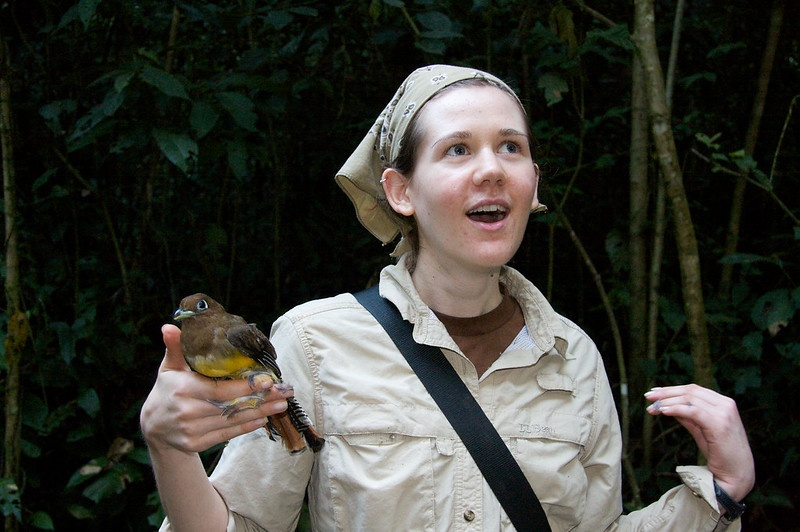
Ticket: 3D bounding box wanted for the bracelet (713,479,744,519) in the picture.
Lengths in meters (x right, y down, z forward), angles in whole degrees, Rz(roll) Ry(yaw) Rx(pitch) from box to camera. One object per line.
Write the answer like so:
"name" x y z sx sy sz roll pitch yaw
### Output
"bracelet" 1.706 1.232 4.688 0.057 0.174 0.148 -36 9 -29
